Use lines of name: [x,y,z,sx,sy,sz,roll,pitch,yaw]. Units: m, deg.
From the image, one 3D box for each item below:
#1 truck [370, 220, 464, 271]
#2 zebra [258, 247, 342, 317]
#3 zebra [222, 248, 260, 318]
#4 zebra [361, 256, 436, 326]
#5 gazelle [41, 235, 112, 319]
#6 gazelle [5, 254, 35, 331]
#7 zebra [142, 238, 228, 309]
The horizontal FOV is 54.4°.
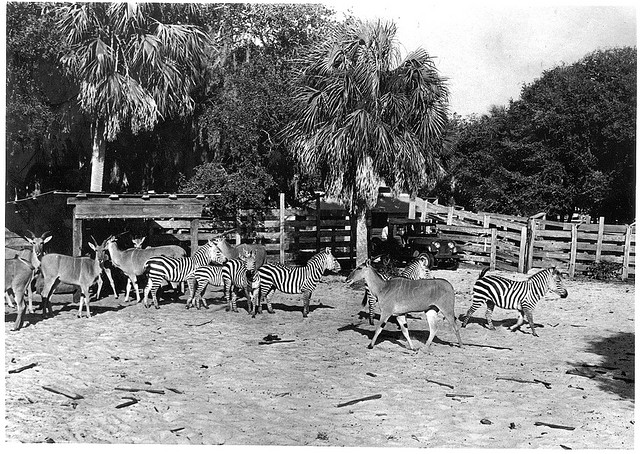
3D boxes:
truck: [4.016,0.801,28.580,3.616,1.982,2.315,0,1,40]
zebra: [-0.788,1.837,19.579,2.343,2.121,0.701,0,14,-7]
zebra: [-2.481,1.749,19.787,1.465,2.065,0.551,11,17,34]
zebra: [2.306,2.088,18.804,1.905,2.289,3.800,3,14,7]
gazelle: [-7.528,1.705,18.842,1.780,1.961,0.874,-6,15,-28]
gazelle: [-8.534,1.876,17.488,0.534,1.992,1.170,3,14,5]
zebra: [-4.391,1.637,20.621,2.716,2.454,0.875,-2,14,-4]
